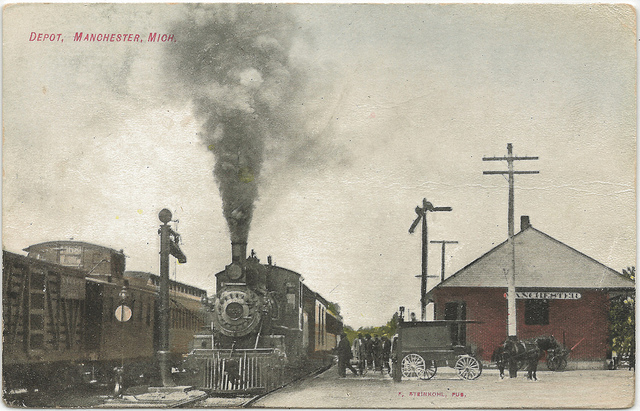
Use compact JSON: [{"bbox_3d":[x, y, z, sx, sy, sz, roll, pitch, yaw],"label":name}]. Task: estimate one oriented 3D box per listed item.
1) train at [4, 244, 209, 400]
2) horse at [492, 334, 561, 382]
[{"bbox_3d":[-7.345,3.658,33.486,2.150,4.592,6.748,-9,-13,42],"label":"train"},{"bbox_3d":[6.333,4.685,33.058,2.205,1.309,0.681,-2,-10,33],"label":"horse"}]
